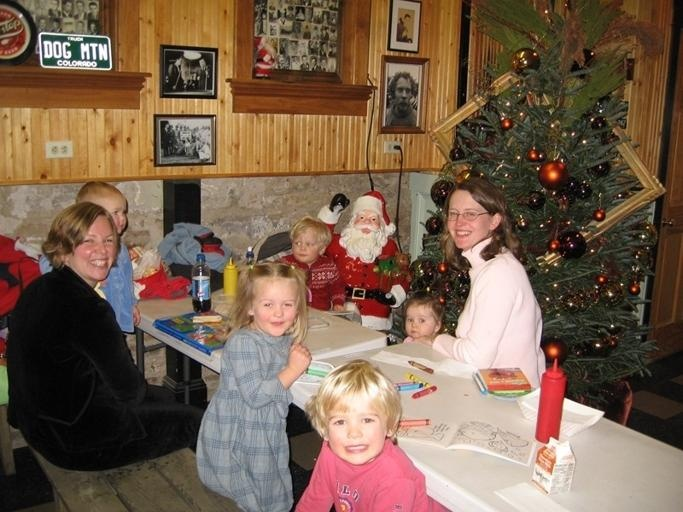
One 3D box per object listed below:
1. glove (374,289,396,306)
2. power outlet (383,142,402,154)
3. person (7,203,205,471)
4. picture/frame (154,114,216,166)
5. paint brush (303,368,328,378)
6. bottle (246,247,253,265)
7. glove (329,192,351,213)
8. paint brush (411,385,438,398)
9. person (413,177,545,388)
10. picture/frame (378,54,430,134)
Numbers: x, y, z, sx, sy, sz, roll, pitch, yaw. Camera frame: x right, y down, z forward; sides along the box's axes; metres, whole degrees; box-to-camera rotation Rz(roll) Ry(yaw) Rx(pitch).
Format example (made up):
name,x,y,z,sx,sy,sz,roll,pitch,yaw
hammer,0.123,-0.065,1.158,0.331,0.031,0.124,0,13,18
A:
name,x,y,z,sx,sy,sz,roll,pitch,yaw
glove,0.302,0.282,3.642,0.034,0.081,0.138,-2,25,-42
power outlet,0.476,-1.016,4.908,0.209,0.114,0.025,-5,10,-40
person,-1.098,0.341,2.370,0.808,1.145,0.401,-2,8,-17
picture/frame,-1.180,-0.876,3.916,0.402,0.329,0.031,-5,11,-29
paint brush,-0.106,0.472,2.147,0.102,0.036,0.032,3,5,10
bottle,-0.571,-0.002,3.283,0.033,0.124,0.226,-1,8,-12
glove,-0.021,-0.393,3.980,0.136,0.175,0.062,12,32,-1
paint brush,0.317,0.525,2.030,0.065,0.018,0.015,-20,22,-37
person,0.673,0.091,2.498,0.548,0.870,0.587,1,16,20
picture/frame,0.578,-1.490,4.870,0.560,0.691,0.100,-5,10,-37
